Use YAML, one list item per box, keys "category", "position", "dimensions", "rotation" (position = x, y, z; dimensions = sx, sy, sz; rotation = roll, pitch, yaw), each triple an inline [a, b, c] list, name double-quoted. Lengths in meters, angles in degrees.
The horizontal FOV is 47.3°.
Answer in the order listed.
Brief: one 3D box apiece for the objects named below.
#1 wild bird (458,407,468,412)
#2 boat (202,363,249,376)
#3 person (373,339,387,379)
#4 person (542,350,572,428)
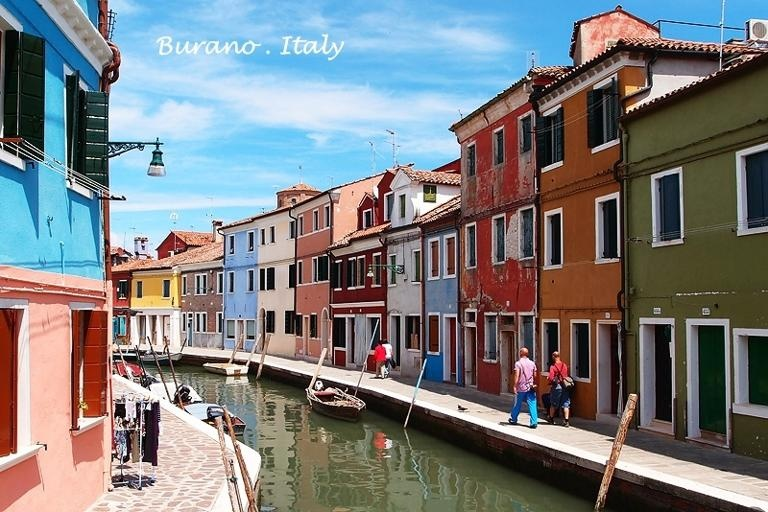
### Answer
- category: "wild bird"
  position: [2.288, 4.434, 25.460]
  dimensions: [0.260, 0.092, 0.402]
  rotation: [0, -7, 5]
- category: "boat"
  position: [-8.256, 5.915, 46.072]
  dimensions: [1.155, 0.613, 2.782]
  rotation: [6, -8, -40]
- category: "person"
  position: [-0.130, 4.248, 35.705]
  dimensions: [0.437, 1.336, 0.898]
  rotation: [1, -6, -4]
- category: "person"
  position: [4.762, 3.571, 23.828]
  dimensions: [0.628, 1.937, 1.058]
  rotation: [0, -6, 8]
